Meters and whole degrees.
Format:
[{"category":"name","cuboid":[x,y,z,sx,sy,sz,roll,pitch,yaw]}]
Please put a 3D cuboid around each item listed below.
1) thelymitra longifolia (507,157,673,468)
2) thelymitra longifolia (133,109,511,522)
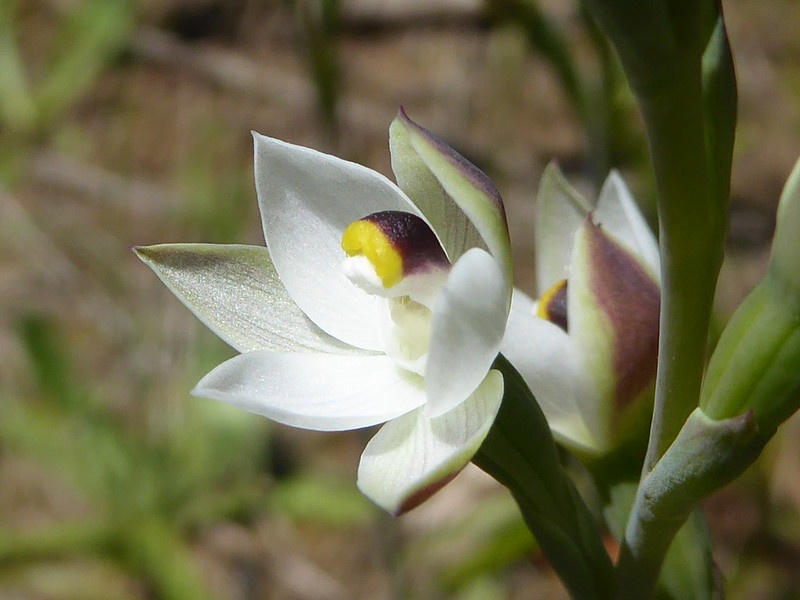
[{"category":"thelymitra longifolia","cuboid":[0.248,0.005,1.492,0.199,0.352,0.241,4,19,11]},{"category":"thelymitra longifolia","cuboid":[-0.055,0.004,1.587,0.478,0.373,0.734,23,12,6]}]
